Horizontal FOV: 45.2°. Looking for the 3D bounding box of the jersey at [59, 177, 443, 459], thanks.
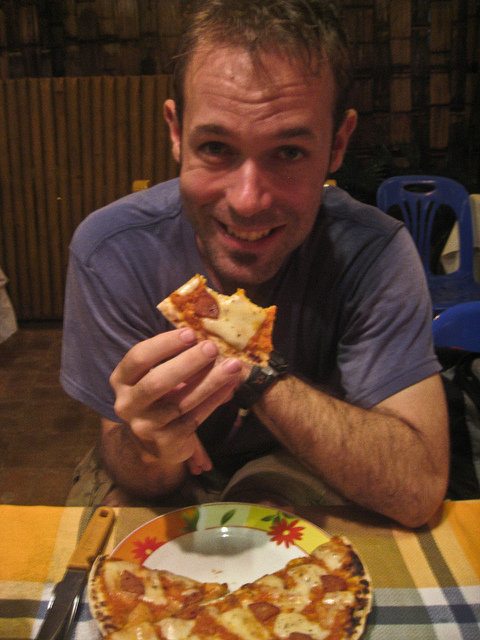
[{"bbox_3d":[0.042,-0.041,1.839,1.170,0.835,0.530,0,33,1],"label":"jersey"}]
